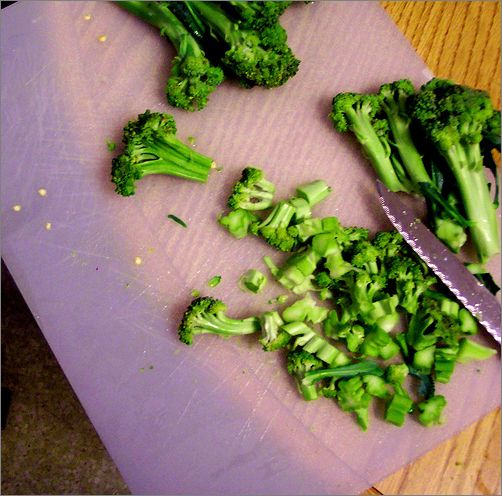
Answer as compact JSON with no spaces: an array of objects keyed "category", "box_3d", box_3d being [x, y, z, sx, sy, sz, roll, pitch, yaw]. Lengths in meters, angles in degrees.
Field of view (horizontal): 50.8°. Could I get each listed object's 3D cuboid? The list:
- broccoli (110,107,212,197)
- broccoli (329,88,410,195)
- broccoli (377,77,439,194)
[{"category":"broccoli","box_3d":[-0.376,-0.348,2.215,0.348,0.192,0.371,24,84,-11]},{"category":"broccoli","box_3d":[0.505,-0.453,2.189,0.185,0.174,0.460,-28,90,-12]},{"category":"broccoli","box_3d":[0.623,-0.488,2.208,0.148,0.150,0.584,-15,91,-29]}]
